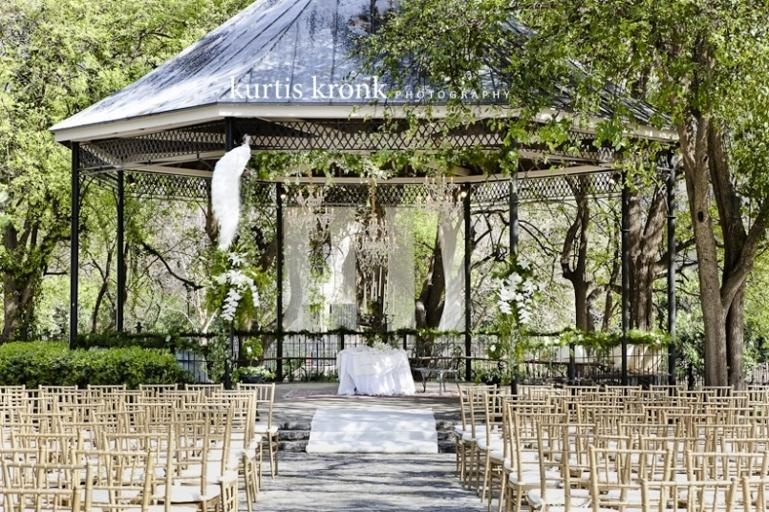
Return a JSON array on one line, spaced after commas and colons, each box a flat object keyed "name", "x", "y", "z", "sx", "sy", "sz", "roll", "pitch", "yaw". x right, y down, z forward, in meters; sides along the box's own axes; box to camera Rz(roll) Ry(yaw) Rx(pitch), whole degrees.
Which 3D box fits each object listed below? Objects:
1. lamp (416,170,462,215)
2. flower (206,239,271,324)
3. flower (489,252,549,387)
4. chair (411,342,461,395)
[{"name": "lamp", "x": 1.234, "y": -1.470, "z": 31.280, "sx": 0.777, "sy": 1.220, "sz": 0.871, "roll": 0, "pitch": -10, "yaw": -2}, {"name": "flower", "x": -2.883, "y": 0.554, "z": 27.967, "sx": 1.247, "sy": 1.429, "sz": 1.108, "roll": 11, "pitch": 48, "yaw": -9}, {"name": "flower", "x": 2.506, "y": 1.197, "z": 27.491, "sx": 0.801, "sy": 2.520, "sz": 0.967, "roll": 6, "pitch": 9, "yaw": 39}, {"name": "chair", "x": 1.203, "y": 2.360, "z": 31.718, "sx": 0.713, "sy": 1.143, "sz": 1.036, "roll": 6, "pitch": -9, "yaw": -37}]
